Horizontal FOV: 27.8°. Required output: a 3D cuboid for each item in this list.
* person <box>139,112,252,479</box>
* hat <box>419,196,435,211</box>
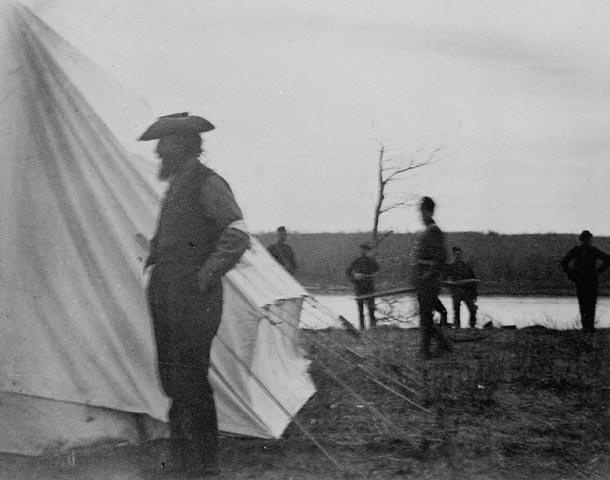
[{"bbox_3d":[-0.674,0.323,7.438,0.626,2.187,0.199,0,-1,-8],"label":"person"},{"bbox_3d":[0.749,-0.225,7.563,0.099,0.088,0.038,0,-1,-23],"label":"hat"}]
